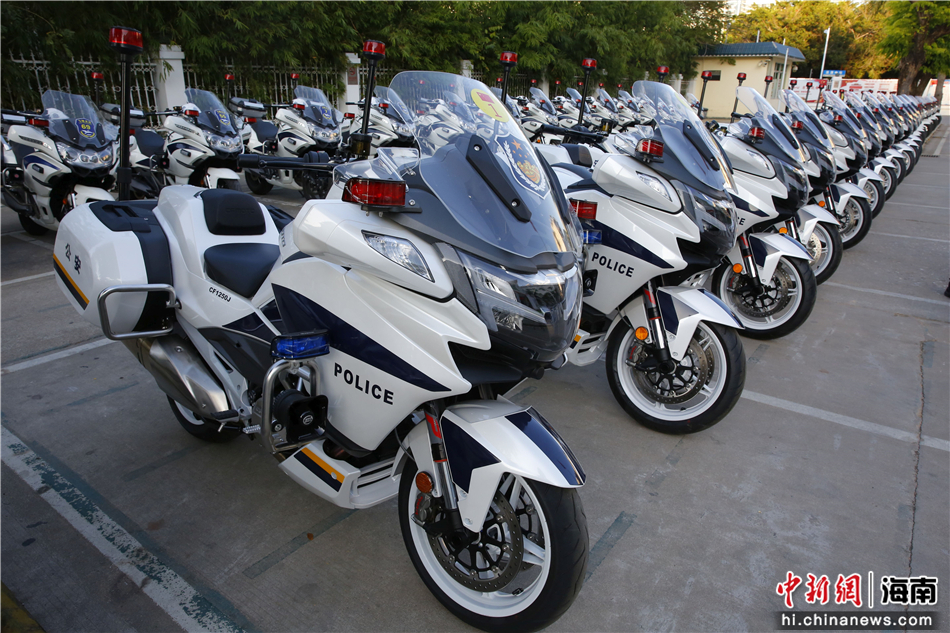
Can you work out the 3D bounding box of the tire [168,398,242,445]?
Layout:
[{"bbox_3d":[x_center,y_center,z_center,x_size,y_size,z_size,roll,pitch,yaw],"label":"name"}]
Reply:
[{"bbox_3d":[-1.839,0.725,4.564,0.368,0.400,0.146,2,-6,5],"label":"tire"}]

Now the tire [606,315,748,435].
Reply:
[{"bbox_3d":[1.524,0.438,5.052,0.768,0.907,0.199,5,8,24],"label":"tire"}]

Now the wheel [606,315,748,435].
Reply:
[{"bbox_3d":[1.524,0.438,5.052,0.768,0.907,0.199,5,8,24],"label":"wheel"}]

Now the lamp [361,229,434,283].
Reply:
[{"bbox_3d":[-0.396,-0.318,3.466,0.349,0.116,0.094,31,14,3],"label":"lamp"}]

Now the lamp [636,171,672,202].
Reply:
[{"bbox_3d":[1.351,-0.961,4.965,0.279,0.128,0.133,15,33,18],"label":"lamp"}]

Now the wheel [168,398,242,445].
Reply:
[{"bbox_3d":[-1.839,0.725,4.564,0.368,0.400,0.146,2,-6,5],"label":"wheel"}]
